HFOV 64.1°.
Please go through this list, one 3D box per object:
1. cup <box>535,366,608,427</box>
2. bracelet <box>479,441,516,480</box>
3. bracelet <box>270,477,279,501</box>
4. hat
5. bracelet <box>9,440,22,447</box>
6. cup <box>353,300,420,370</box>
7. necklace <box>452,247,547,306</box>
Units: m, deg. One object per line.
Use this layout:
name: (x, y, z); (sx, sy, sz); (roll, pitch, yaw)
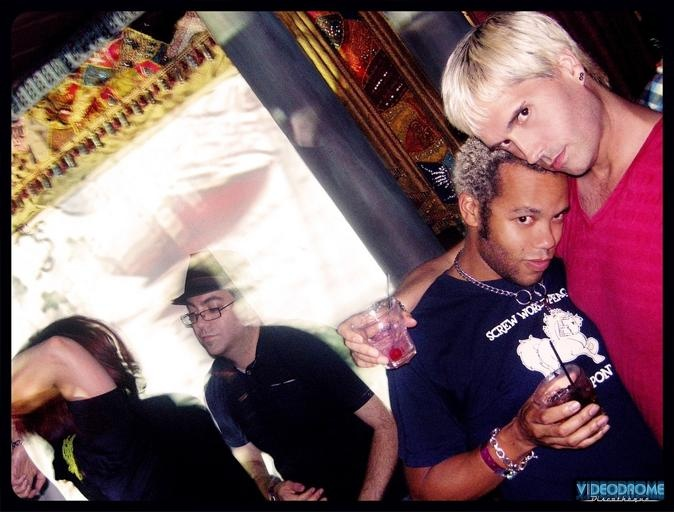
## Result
cup: (0.849, 0.493, 1.949); (0.156, 0.158, 0.198); (-30, 13, 43)
bracelet: (0.665, 0.864, 2.239); (0.096, 0.163, 0.038); (-28, 0, 2)
bracelet: (-0.274, 1.014, 2.334); (0.033, 0.086, 0.052); (2, -5, 6)
hat: (-0.570, 0.136, 2.404); (0.267, 0.143, 0.274); (-9, -7, -16)
bracelet: (-1.415, 0.821, 2.364); (0.034, 0.024, 0.012); (-4, 20, -30)
cup: (0.189, 0.340, 2.199); (0.222, 0.257, 0.238); (-19, -3, -1)
necklace: (0.757, 0.120, 2.430); (0.175, 0.264, 0.046); (-56, 1, 16)
